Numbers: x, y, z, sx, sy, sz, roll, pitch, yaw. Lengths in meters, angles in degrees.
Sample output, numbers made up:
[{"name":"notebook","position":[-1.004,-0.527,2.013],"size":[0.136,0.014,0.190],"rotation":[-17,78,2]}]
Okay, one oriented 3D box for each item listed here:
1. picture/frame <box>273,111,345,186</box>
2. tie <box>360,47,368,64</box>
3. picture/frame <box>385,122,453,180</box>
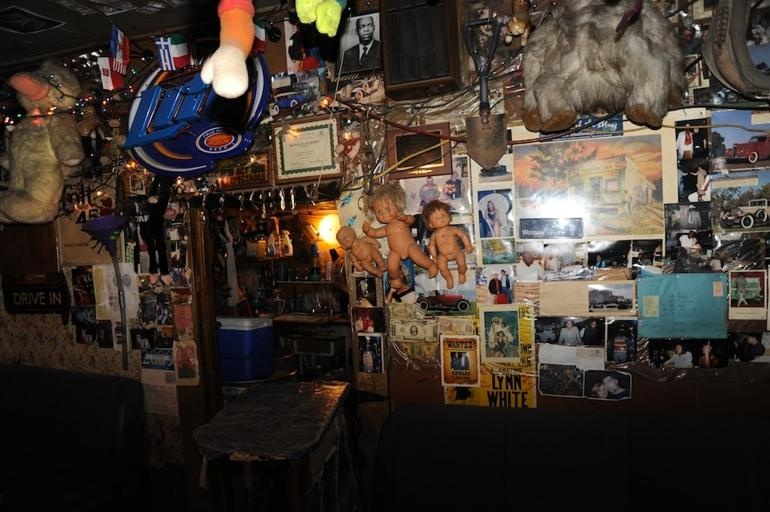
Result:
[{"name":"picture/frame","position":[-0.619,-0.910,5.544],"size":[0.648,0.519,0.089],"rotation":[-2,6,13]},{"name":"tie","position":[-0.174,-1.652,5.387],"size":[0.089,0.120,0.030],"rotation":[3,6,16]},{"name":"picture/frame","position":[0.296,-0.853,5.317],"size":[0.500,0.364,0.067],"rotation":[1,5,16]}]
